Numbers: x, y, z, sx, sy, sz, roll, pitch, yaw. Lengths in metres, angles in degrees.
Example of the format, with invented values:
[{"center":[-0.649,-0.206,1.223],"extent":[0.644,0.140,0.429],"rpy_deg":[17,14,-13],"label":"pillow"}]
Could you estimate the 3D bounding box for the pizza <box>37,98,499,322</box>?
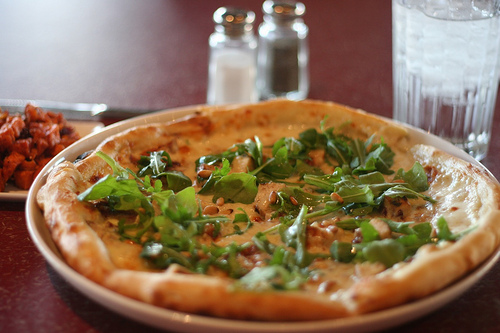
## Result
[{"center":[0.076,0.066,1.491],"extent":[1.701,0.281,1.167],"rpy_deg":[-7,35,-7],"label":"pizza"}]
